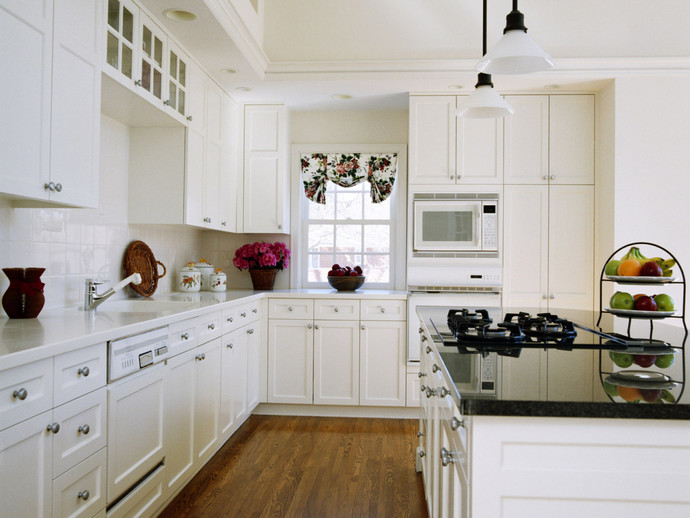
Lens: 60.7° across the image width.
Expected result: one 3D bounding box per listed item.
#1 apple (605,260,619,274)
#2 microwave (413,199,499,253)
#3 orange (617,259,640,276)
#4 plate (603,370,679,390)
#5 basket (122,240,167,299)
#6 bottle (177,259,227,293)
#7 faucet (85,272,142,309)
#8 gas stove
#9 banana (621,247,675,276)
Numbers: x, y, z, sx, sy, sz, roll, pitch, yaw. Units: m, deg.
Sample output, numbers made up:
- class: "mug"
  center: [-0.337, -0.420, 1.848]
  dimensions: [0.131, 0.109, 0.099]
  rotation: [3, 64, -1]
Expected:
- class: "apple"
  center: [1.273, 0.042, 2.815]
  dimensions: [0.061, 0.078, 0.062]
  rotation: [-6, -12, 36]
- class: "microwave"
  center: [0.900, -0.249, 4.660]
  dimensions: [0.683, 0.431, 0.421]
  rotation: [0, 0, 27]
- class: "orange"
  center: [1.289, 0.042, 2.701]
  dimensions: [0.076, 0.086, 0.082]
  rotation: [1, -6, 7]
- class: "plate"
  center: [1.038, 0.422, 2.088]
  dimensions: [0.221, 0.017, 0.173]
  rotation: [3, 7, 17]
- class: "basket"
  center: [-1.335, 0.087, 3.913]
  dimensions: [0.132, 0.345, 0.340]
  rotation: [-8, -32, 8]
- class: "bottle"
  center: [-1.085, 0.132, 4.476]
  dimensions: [0.178, 0.215, 0.353]
  rotation: [-2, -4, 22]
- class: "faucet"
  center: [-1.257, 0.196, 3.217]
  dimensions: [0.292, 0.180, 0.055]
  rotation: [1, 5, 5]
- class: "gas stove"
  center: [0.728, 0.307, 2.767]
  dimensions: [0.641, 0.069, 0.646]
  rotation: [1, 7, -4]
- class: "banana"
  center: [1.389, -0.013, 2.749]
  dimensions: [0.170, 0.123, 0.216]
  rotation: [5, 1, -45]
